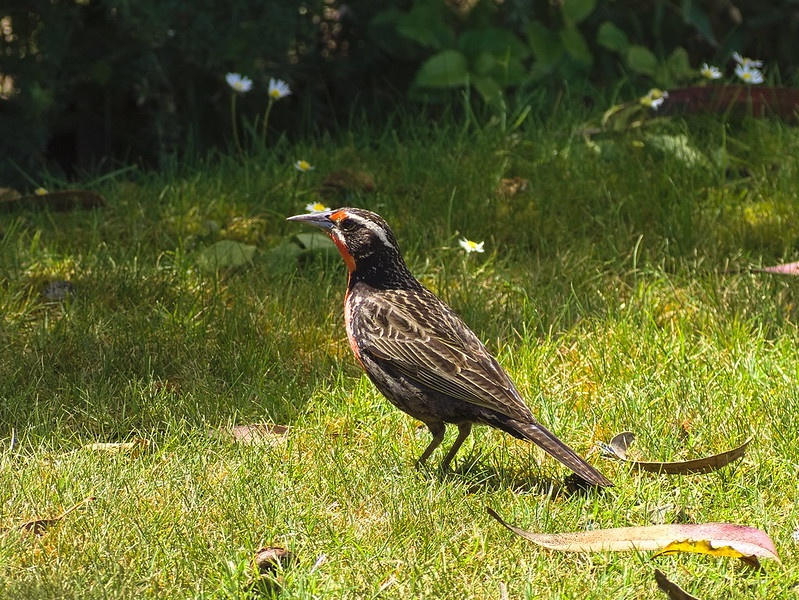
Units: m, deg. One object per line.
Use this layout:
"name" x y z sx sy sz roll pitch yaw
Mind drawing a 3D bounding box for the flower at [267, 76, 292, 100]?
"flower" -0.839 -1.416 7.171 0.171 0.185 0.097 13 56 -17

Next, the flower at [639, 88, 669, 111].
"flower" 1.745 -1.394 7.265 0.130 0.098 0.309 29 6 -9
